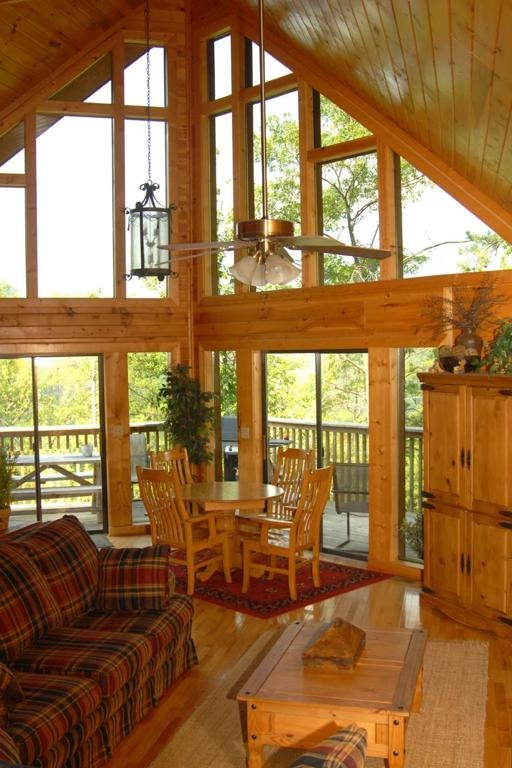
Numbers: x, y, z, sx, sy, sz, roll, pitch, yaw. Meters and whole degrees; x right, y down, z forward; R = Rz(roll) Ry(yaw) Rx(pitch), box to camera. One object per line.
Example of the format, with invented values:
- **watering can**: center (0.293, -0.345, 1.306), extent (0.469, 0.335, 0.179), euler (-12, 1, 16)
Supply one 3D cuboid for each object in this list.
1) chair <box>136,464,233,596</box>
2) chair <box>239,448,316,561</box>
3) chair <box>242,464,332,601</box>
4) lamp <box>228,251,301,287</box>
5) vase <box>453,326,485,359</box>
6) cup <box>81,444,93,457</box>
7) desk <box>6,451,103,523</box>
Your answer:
- **chair**: center (-0.615, 1.260, 5.372), extent (0.687, 1.035, 0.658), euler (-2, -1, -38)
- **chair**: center (0.191, 1.109, 5.675), extent (0.646, 0.929, 0.701), euler (1, 7, 20)
- **chair**: center (0.259, 1.221, 5.210), extent (0.626, 1.017, 0.622), euler (0, 0, 30)
- **lamp**: center (0.034, -0.502, 2.738), extent (0.196, 0.121, 0.192), euler (0, 0, -12)
- **vase**: center (1.557, -0.286, 4.616), extent (0.221, 0.326, 0.213), euler (-3, -16, 32)
- **cup**: center (-2.012, 0.793, 7.419), extent (0.134, 0.130, 0.133), euler (4, -5, 0)
- **desk**: center (-2.433, 1.313, 7.455), extent (1.215, 0.828, 0.770), euler (-2, 2, -9)
